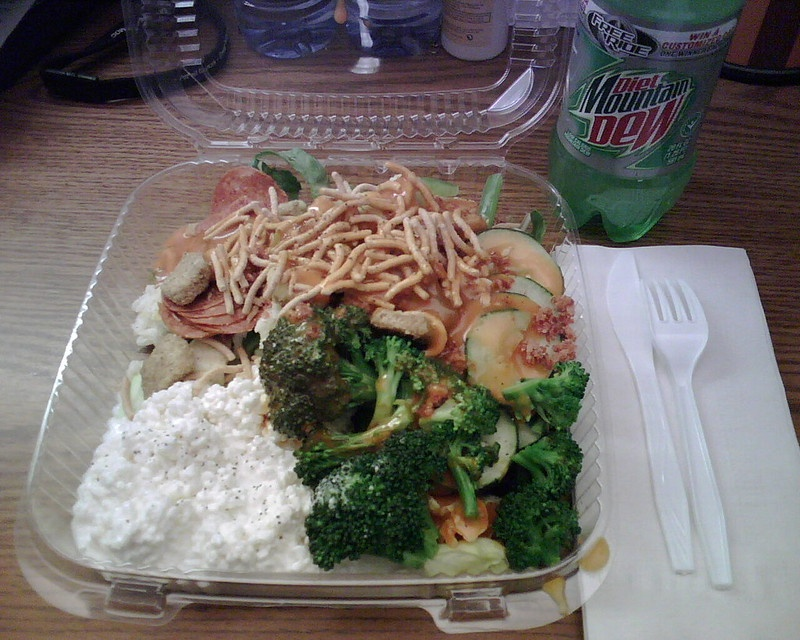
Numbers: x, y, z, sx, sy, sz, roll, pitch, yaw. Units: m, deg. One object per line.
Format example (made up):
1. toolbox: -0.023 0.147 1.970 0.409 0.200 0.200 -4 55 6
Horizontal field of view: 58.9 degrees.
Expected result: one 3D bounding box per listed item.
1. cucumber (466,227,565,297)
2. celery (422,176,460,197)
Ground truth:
1. cucumber: 0.475 -0.227 3.018 0.275 0.053 0.457 -33 74 -28
2. celery: 0.185 -0.619 3.287 0.195 0.018 0.072 16 68 4
